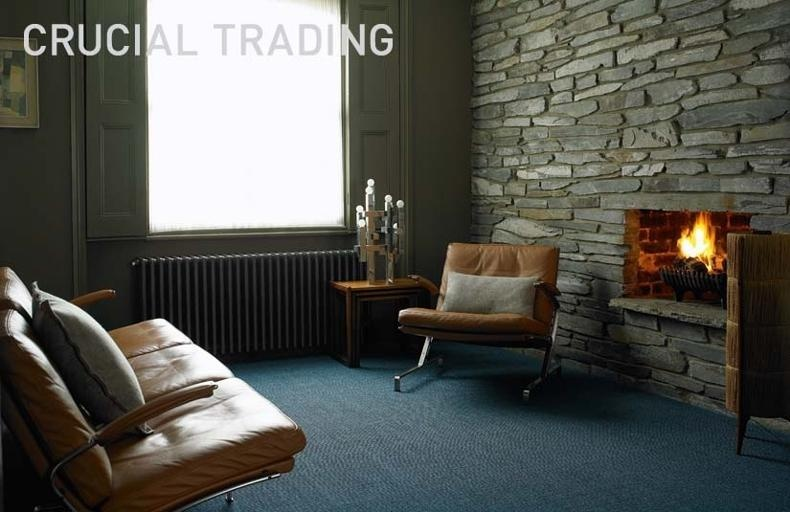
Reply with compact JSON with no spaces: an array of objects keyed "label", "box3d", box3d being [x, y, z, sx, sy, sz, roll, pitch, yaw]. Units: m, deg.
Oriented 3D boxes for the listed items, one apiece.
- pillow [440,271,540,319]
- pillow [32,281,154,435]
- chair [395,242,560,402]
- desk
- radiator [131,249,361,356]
[{"label":"pillow","box3d":[0.735,0.287,4.009,0.746,0.303,0.205,4,-6,34]},{"label":"pillow","box3d":[-1.399,0.452,2.384,0.318,0.244,0.653,11,2,-37]},{"label":"chair","box3d":[0.585,0.346,4.155,1.442,1.103,1.228,1,5,24]},{"label":"desk","box3d":[-0.131,0.526,4.571,0.786,0.508,0.496,-2,-2,-25]},{"label":"radiator","box3d":[-1.416,0.446,4.569,2.219,0.931,0.198,-3,-5,15]}]
